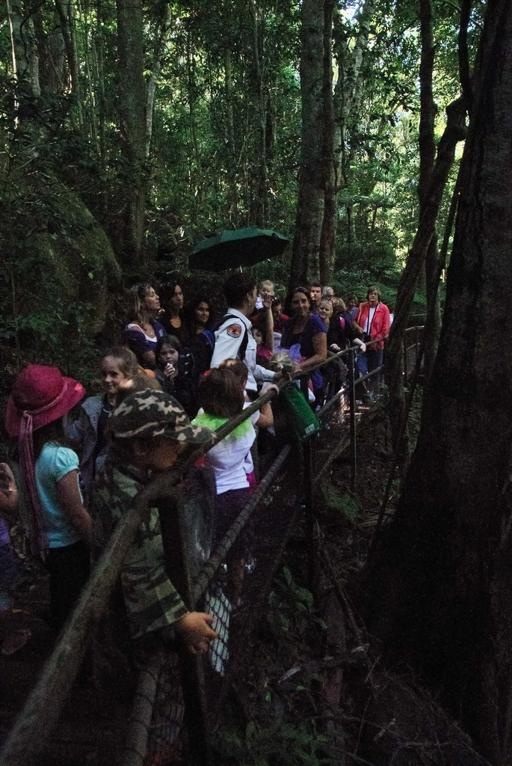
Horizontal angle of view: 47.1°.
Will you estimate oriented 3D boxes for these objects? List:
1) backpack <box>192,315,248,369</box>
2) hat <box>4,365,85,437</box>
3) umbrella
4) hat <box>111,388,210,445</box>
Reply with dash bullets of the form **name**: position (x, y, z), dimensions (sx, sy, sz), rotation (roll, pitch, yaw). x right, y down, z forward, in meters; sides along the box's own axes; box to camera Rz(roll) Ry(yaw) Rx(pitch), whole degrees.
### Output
- **backpack**: position (-0.228, -0.285, 4.320), dimensions (0.373, 0.367, 0.260), rotation (-12, -12, 11)
- **hat**: position (-0.866, 0.048, 2.463), dimensions (0.218, 0.221, 0.315), rotation (7, 18, 15)
- **umbrella**: position (-0.205, -1.570, 6.948), dimensions (1.152, 0.537, 0.524), rotation (-1, 18, -8)
- **hat**: position (-0.261, 0.077, 1.610), dimensions (0.222, 0.115, 0.158), rotation (-2, 4, -16)
